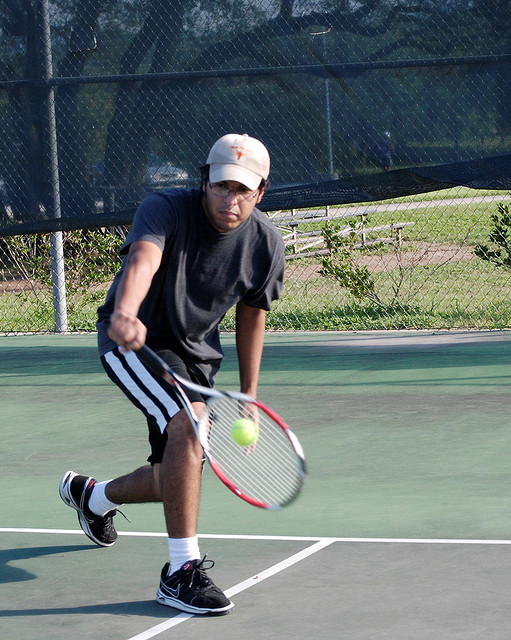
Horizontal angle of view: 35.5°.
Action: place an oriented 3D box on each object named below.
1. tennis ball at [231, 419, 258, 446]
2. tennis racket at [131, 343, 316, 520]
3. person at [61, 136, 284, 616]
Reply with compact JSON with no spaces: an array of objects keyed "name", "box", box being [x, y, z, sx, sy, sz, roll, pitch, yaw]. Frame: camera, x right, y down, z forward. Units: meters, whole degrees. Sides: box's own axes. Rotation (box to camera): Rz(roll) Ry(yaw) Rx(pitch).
[{"name":"tennis ball","box":[-0.030,0.295,2.104,0.080,0.061,0.070,6,5,2]},{"name":"tennis racket","box":[-0.173,0.242,2.373,0.072,0.272,1.043,-43,39,-19]},{"name":"person","box":[-0.209,0.120,2.268,0.688,1.225,1.096,-5,5,-13]}]
